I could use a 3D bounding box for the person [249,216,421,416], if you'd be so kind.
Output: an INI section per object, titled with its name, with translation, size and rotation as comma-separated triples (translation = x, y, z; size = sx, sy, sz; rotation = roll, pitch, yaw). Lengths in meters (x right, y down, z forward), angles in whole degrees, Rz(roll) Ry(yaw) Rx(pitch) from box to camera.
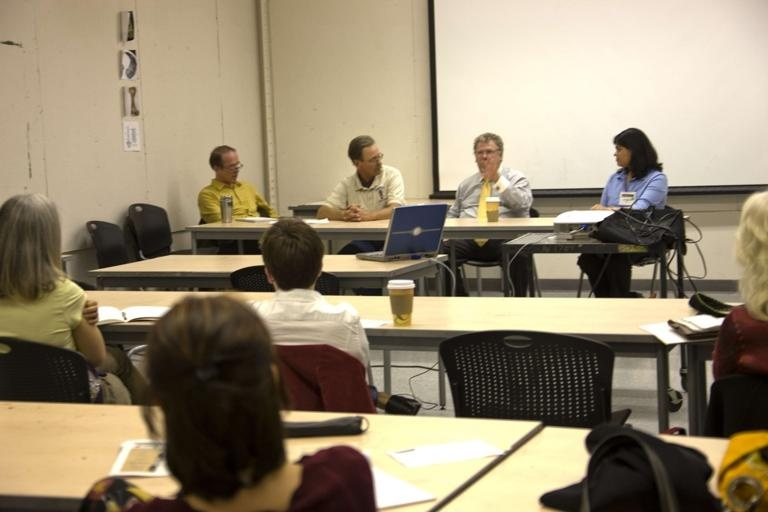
[person]
translation = -0.212, 0.200, 2.396
size = 0.598, 0.792, 0.579
rotation = -6, -4, 19

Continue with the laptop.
[laptop]
translation = 0.150, -0.148, 4.123
size = 0.418, 0.316, 0.367
rotation = -4, 6, -42
